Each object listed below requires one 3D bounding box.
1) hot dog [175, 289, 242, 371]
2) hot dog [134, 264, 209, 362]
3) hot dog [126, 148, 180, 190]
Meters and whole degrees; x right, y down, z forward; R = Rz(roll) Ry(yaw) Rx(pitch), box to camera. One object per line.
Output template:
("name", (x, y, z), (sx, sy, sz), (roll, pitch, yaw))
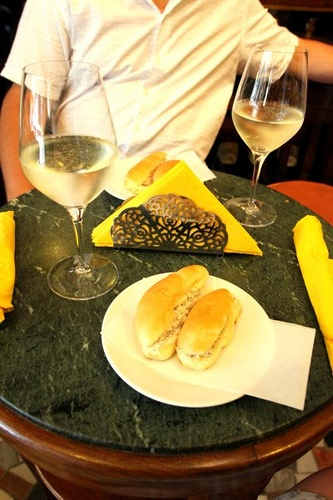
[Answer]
("hot dog", (0.040, 0.087, 0.430), (0.055, 0.035, 0.116), (17, 37, 14))
("hot dog", (0.000, 0.063, 0.479), (0.064, 0.040, 0.151), (13, 39, 16))
("hot dog", (-0.030, -0.173, 0.841), (0.076, 0.032, 0.106), (26, 56, 35))
